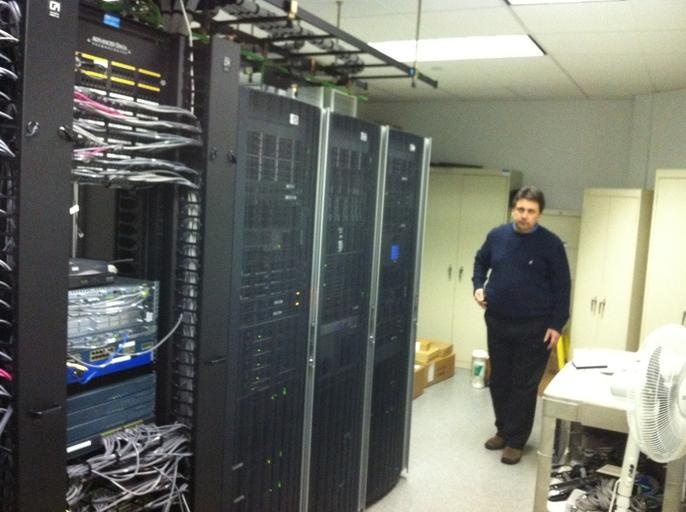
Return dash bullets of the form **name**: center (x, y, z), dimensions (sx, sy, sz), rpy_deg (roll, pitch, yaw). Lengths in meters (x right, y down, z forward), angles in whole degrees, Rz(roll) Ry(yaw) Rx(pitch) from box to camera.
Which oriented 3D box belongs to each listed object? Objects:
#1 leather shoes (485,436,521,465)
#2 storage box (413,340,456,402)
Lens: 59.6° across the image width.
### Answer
- **leather shoes**: center (1.067, 1.298, 4.010), dimensions (0.088, 0.105, 0.266), rpy_deg (-11, -1, -13)
- **storage box**: center (0.758, 0.950, 5.228), dimensions (0.244, 0.395, 0.776), rpy_deg (6, 9, 24)
